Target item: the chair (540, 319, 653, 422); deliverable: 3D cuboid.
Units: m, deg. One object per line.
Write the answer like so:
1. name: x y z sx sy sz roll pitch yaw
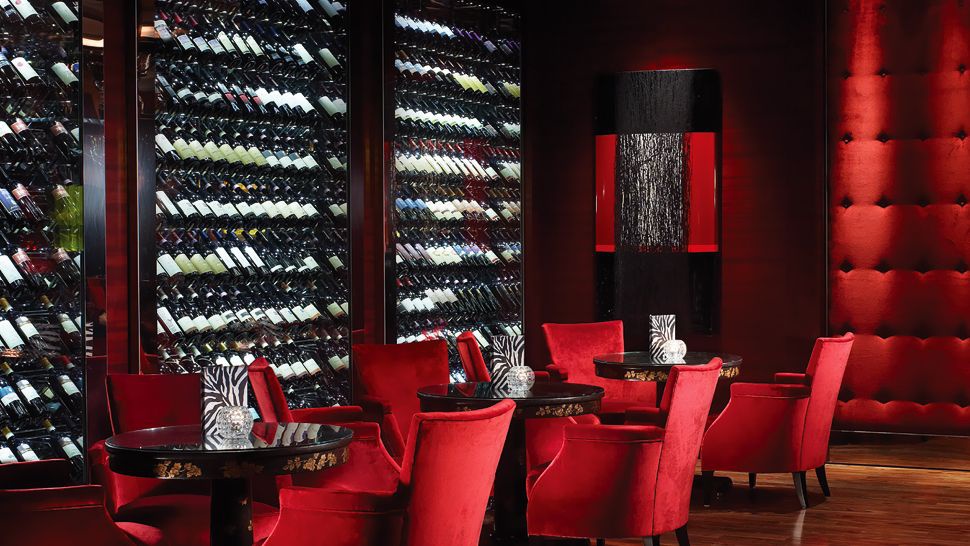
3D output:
1. chair: 0.915 0.972 7.399 0.829 1.058 0.792 -5 -5 4

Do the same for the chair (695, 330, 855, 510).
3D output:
1. chair: 2.418 1.241 6.958 1.147 1.255 1.000 -6 -10 31
